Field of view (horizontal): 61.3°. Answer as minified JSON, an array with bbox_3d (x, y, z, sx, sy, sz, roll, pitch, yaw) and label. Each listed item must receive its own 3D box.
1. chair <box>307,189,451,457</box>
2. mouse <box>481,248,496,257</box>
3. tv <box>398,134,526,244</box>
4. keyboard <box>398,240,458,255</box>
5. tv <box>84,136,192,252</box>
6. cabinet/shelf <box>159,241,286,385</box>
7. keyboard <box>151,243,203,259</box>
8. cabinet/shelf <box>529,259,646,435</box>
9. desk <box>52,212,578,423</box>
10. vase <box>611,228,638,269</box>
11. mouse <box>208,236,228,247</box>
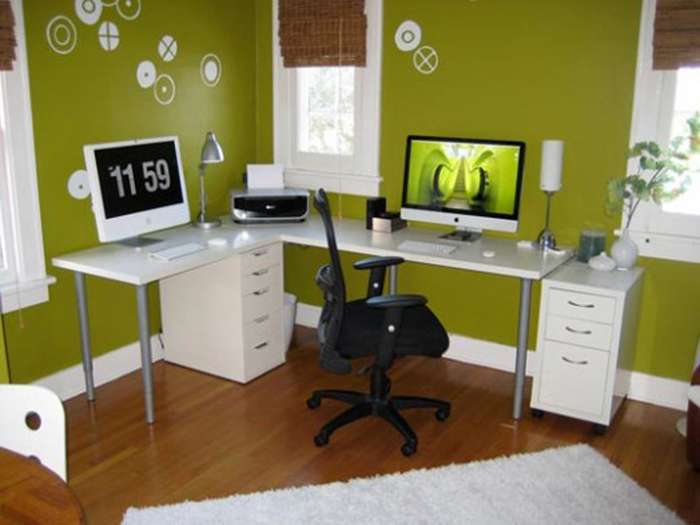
[{"bbox_3d":[0.146,0.292,3.197,0.756,1.263,0.890,-3,13,-9],"label":"chair"},{"bbox_3d":[0.794,-0.051,3.386,0.049,0.015,0.049,9,23,30],"label":"mouse"},{"bbox_3d":[0.711,-0.456,3.630,0.559,0.513,0.209,9,25,26],"label":"tv"},{"bbox_3d":[0.436,-0.083,3.453,0.235,0.032,0.132,10,19,35],"label":"keyboard"},{"bbox_3d":[-1.257,-0.396,3.428,0.170,0.581,0.551,9,19,29],"label":"tv"},{"bbox_3d":[-0.801,0.272,4.158,0.930,1.188,0.613,4,11,24],"label":"cabinet/shelf"},{"bbox_3d":[-0.965,-0.062,3.351,0.167,0.020,0.305,12,21,32],"label":"keyboard"},{"bbox_3d":[1.351,0.459,3.389,0.493,0.826,0.537,9,19,26],"label":"cabinet/shelf"},{"bbox_3d":[-0.236,-0.020,3.378,1.731,0.729,1.568,8,15,37],"label":"desk"},{"bbox_3d":[1.581,-0.077,3.402,0.144,0.232,0.143,-11,15,-31],"label":"vase"},{"bbox_3d":[-0.788,-0.123,3.546,0.067,0.018,0.066,12,23,26],"label":"mouse"}]
